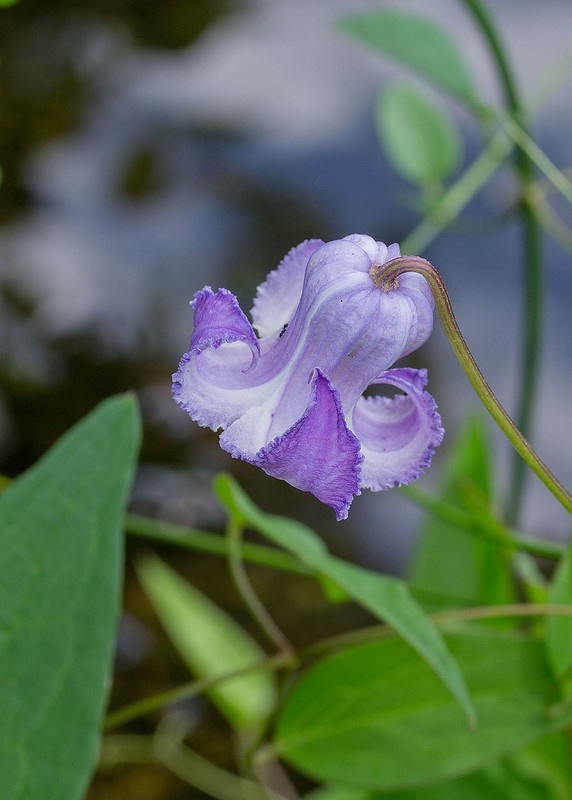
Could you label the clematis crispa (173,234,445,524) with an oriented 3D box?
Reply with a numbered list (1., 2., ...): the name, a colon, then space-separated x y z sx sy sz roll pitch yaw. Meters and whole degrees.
1. clematis crispa: -0.002 -0.019 0.765 0.234 0.176 0.252 3 68 -25
